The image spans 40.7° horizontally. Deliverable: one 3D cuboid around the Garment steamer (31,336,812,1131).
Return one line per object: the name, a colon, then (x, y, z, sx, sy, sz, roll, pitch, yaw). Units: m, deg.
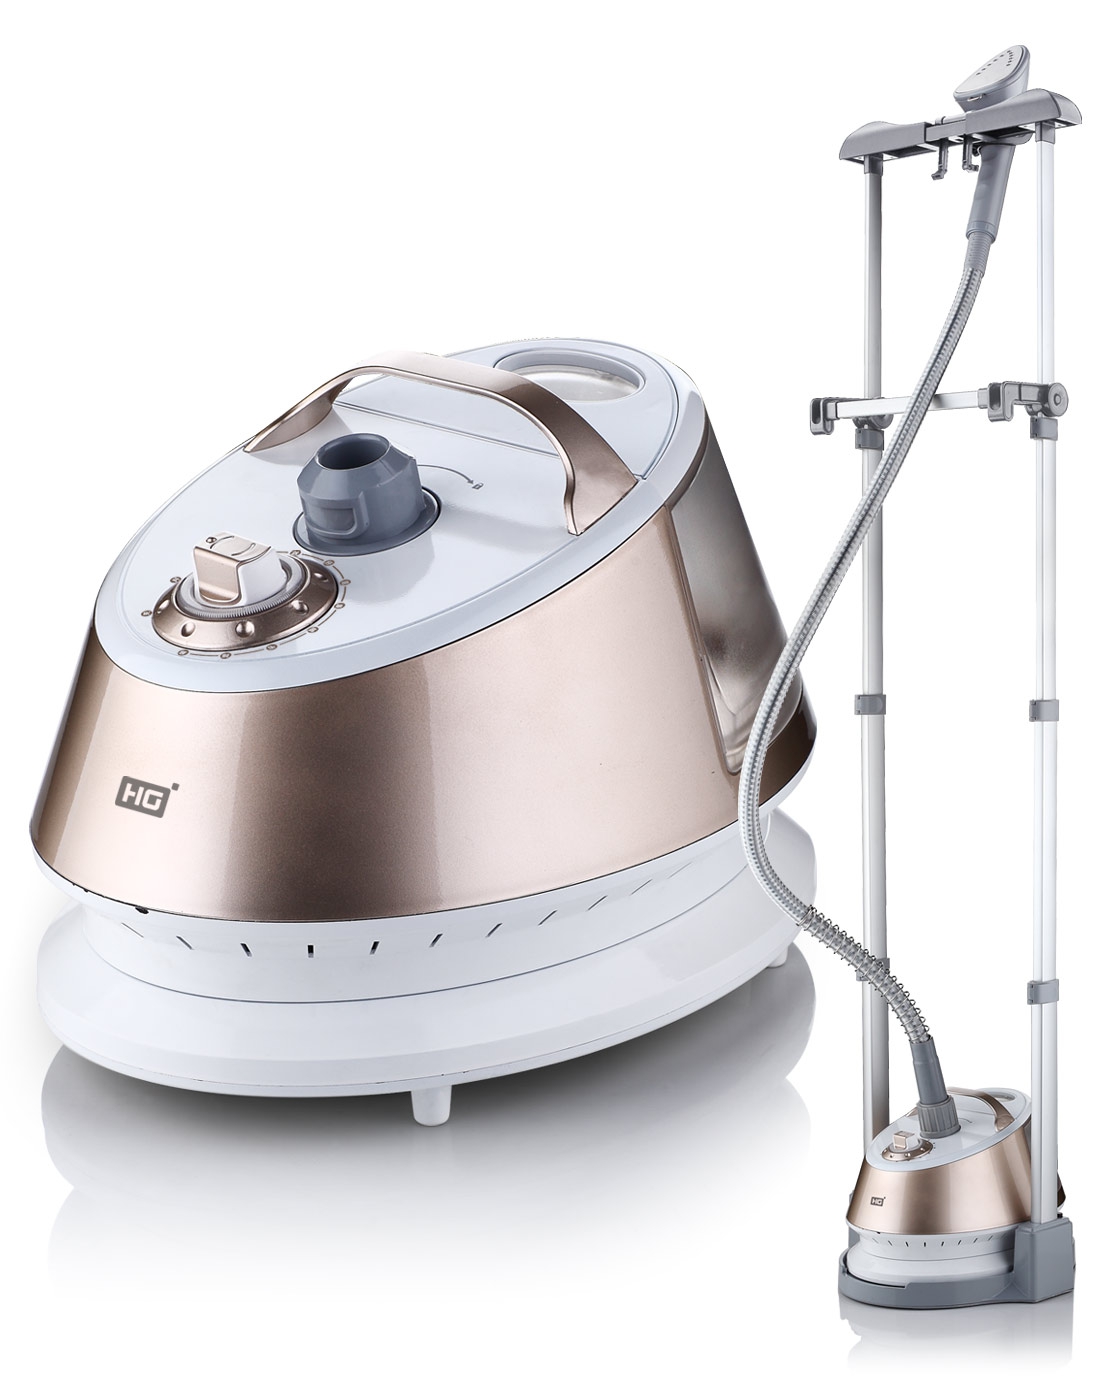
Garment steamer: (-0.087, -0.036, 1.433, 0.664, 0.506, 0.782, 12, 22, 36)
